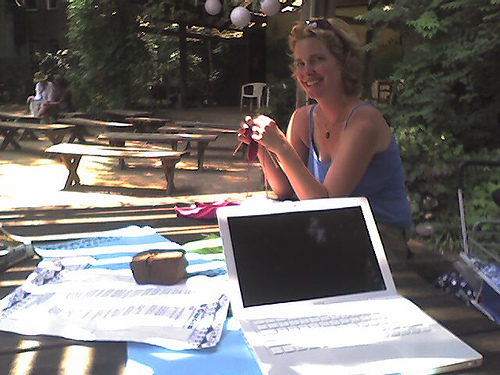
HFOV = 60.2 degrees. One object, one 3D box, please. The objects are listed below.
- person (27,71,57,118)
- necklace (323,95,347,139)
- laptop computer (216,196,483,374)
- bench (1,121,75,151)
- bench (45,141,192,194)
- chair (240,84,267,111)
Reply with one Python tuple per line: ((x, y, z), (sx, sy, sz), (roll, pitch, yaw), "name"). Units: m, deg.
((-5.314, -2.298, 10.881), (0.615, 1.209, 1.009), (3, 6, 2), "person")
((0.369, -0.307, 1.862), (0.050, 0.189, 0.181), (2, 19, 24), "necklace")
((0.196, 0.139, 1.027), (0.402, 0.259, 0.414), (-3, 10, -17), "laptop computer")
((-4.645, -1.103, 9.099), (1.132, 0.591, 3.075), (-9, 17, -35), "bench")
((-1.746, -0.379, 6.482), (1.952, 0.533, 1.692), (4, 14, 12), "bench")
((0.281, -3.030, 14.083), (0.500, 0.729, 0.613), (-2, 23, -22), "chair")
